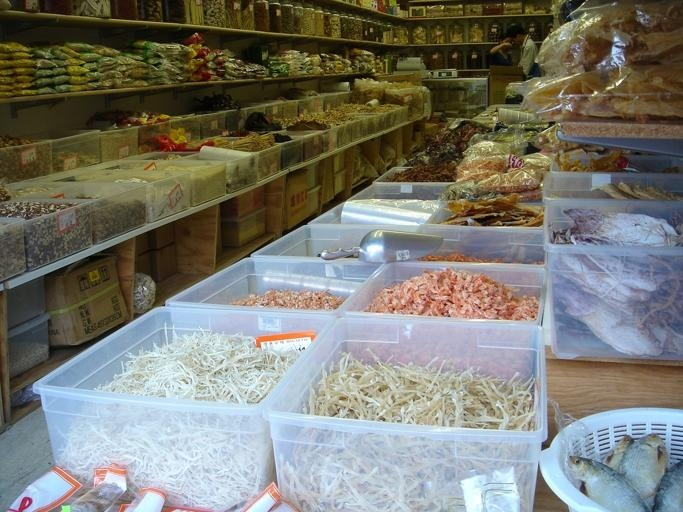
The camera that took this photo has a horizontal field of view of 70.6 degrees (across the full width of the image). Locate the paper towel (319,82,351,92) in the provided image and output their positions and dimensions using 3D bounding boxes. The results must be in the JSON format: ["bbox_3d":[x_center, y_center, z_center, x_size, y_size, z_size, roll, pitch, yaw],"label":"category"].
[{"bbox_3d":[-0.138,-2.818,8.043,0.408,0.103,0.358,1,3,13],"label":"paper towel"}]

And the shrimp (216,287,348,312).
[{"bbox_3d":[-0.200,0.161,1.744,0.388,0.050,0.185,5,21,15],"label":"shrimp"}]

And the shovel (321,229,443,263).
[{"bbox_3d":[0.144,-0.029,1.682,0.431,0.128,0.120,-2,24,-2],"label":"shovel"}]
